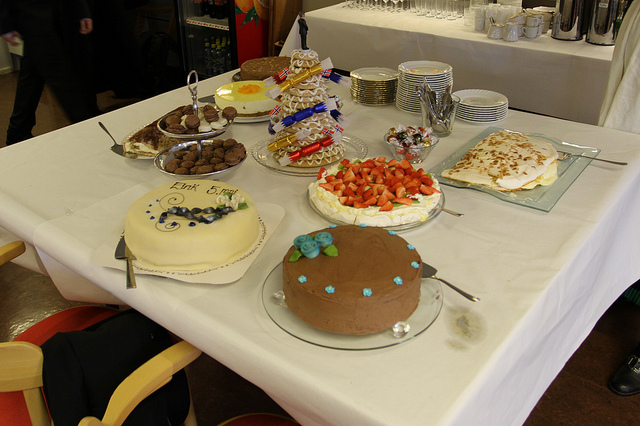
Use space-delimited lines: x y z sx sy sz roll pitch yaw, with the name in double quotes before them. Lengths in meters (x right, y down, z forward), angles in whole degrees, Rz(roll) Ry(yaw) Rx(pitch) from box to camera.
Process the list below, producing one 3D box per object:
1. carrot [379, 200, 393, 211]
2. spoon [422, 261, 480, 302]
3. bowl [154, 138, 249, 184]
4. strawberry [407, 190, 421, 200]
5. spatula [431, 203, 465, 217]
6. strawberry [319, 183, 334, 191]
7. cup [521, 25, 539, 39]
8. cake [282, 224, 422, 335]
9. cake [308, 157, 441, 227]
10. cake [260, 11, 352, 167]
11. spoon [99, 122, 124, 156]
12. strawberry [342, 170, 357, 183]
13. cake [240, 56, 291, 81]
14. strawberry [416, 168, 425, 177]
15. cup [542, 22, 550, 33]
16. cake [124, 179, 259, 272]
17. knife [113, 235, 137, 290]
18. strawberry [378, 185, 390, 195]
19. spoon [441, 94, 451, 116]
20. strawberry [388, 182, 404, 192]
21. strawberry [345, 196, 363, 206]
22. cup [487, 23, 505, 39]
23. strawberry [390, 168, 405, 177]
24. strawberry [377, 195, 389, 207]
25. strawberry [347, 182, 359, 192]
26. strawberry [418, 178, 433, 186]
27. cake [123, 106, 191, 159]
"carrot" 0.218 -0.024 1.440 0.033 0.012 0.026 -26 39 -5
"spoon" 0.392 0.211 1.288 0.145 0.022 0.035 37 48 27
"bowl" -0.456 -0.208 1.653 0.234 0.093 0.232 0 31 0
"strawberry" 0.330 -0.058 1.491 0.029 0.022 0.029 -23 47 -17
"spatula" 0.450 -0.007 1.503 0.088 0.007 0.039 21 45 40
"strawberry" 0.031 -0.091 1.531 0.031 0.010 0.034 -1 35 -4
"cup" 1.423 -1.232 2.916 0.092 0.073 0.076 24 47 28
"cake" 0.096 0.156 1.293 0.406 0.156 0.409 -5 29 -10
"cake" 0.207 -0.084 1.623 0.510 0.157 0.495 -12 25 -28
"cake" -0.052 -0.435 1.771 0.302 0.681 0.335 25 39 36
"spoon" -0.944 -0.330 1.942 0.054 0.031 0.200 -35 74 -9
"strawberry" 0.099 -0.132 1.541 0.043 0.019 0.041 -26 46 -8
"cake" -0.298 -0.782 2.315 0.285 0.068 0.292 1 41 7
"strawberry" 0.371 -0.147 1.581 0.026 0.016 0.028 -28 48 -35
"cup" 1.576 -1.304 3.004 0.046 0.055 0.052 19 78 17
"cake" -0.415 0.021 1.416 0.422 0.152 0.338 -3 36 -6
"knife" -0.613 0.142 1.369 0.075 0.022 0.222 7 44 -36
"strawberry" 0.226 -0.076 1.479 0.030 0.012 0.030 -11 69 0
"spoon" 0.555 -0.481 1.892 0.026 0.082 0.013 15 43 16
"strawberry" 0.260 -0.090 1.482 0.033 0.010 0.034 -15 20 -4
"strawberry" 0.121 -0.039 1.478 0.033 0.013 0.033 -27 16 -32
"cup" 1.214 -1.256 2.961 0.078 0.086 0.122 12 50 23
"strawberry" 0.282 -0.151 1.555 0.035 0.021 0.029 -14 -2 -38
"strawberry" 0.210 -0.043 1.448 0.030 0.023 0.040 10 36 26
"strawberry" 0.117 -0.089 1.510 0.027 0.008 0.029 26 36 -17
"strawberry" 0.380 -0.114 1.530 0.028 0.011 0.028 34 37 28
"cake" -0.707 -0.324 1.912 0.246 0.246 0.295 15 30 21
